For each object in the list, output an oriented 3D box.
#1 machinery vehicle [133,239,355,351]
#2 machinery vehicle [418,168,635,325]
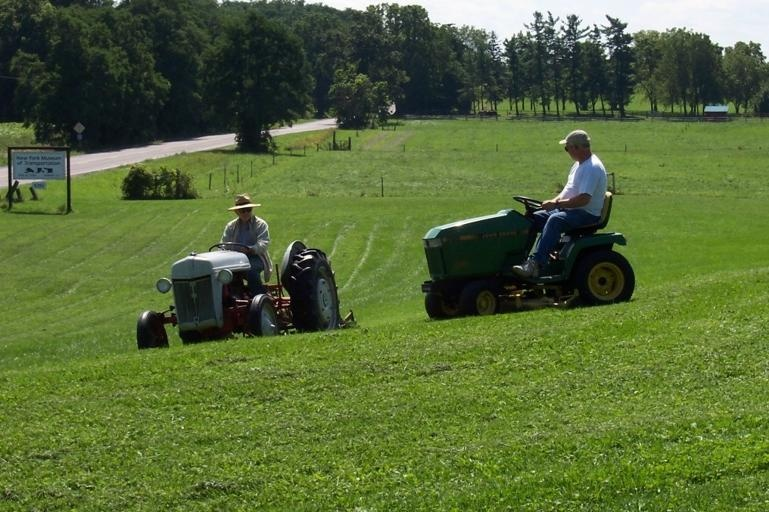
[{"bbox_3d":[-4.923,1.165,42.047,6.732,3.388,1.921,-2,6,-6],"label":"machinery vehicle"},{"bbox_3d":[5.096,-0.265,43.043,7.171,4.323,3.952,-2,2,-16],"label":"machinery vehicle"}]
